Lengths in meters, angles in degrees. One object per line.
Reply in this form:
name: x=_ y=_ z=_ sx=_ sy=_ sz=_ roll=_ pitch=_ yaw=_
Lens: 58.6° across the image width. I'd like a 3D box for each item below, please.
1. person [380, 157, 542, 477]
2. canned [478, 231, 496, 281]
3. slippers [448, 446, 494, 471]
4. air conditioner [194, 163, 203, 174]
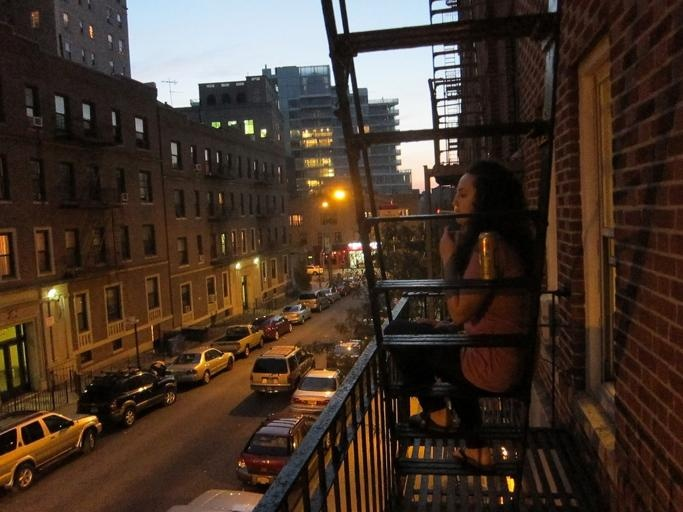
person: x=0.954 y=0.515 z=4.630 sx=1.119 sy=2.416 sz=0.982 roll=-2 pitch=6 yaw=28
canned: x=1.028 y=-0.009 z=4.273 sx=0.110 sy=0.314 sz=0.055 roll=-4 pitch=5 yaw=13
slippers: x=1.040 y=1.595 z=4.885 sx=0.118 sy=0.147 sz=0.340 roll=7 pitch=-2 yaw=-22
air conditioner: x=-8.667 y=-5.178 z=36.173 sx=0.379 sy=0.765 sz=0.754 roll=-4 pitch=11 yaw=9
